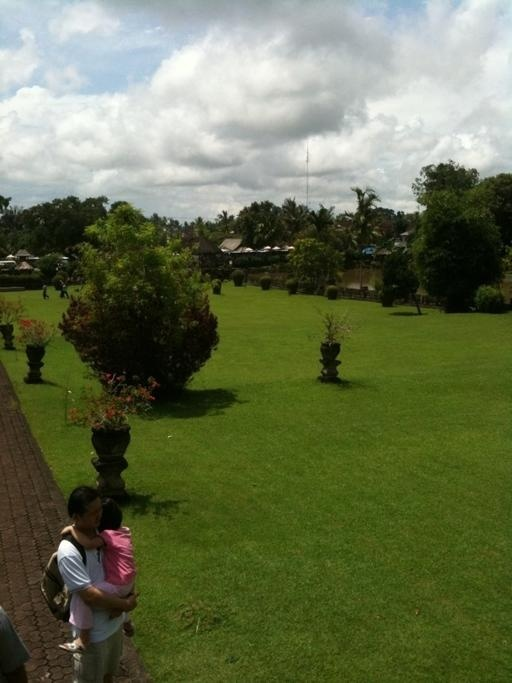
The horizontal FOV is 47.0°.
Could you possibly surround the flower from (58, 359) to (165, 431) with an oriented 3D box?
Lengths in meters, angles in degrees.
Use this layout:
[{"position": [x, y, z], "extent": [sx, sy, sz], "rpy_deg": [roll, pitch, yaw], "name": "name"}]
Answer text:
[{"position": [-3.276, 1.257, 13.951], "extent": [1.472, 0.927, 1.284], "rpy_deg": [-8, 20, -44], "name": "flower"}]
